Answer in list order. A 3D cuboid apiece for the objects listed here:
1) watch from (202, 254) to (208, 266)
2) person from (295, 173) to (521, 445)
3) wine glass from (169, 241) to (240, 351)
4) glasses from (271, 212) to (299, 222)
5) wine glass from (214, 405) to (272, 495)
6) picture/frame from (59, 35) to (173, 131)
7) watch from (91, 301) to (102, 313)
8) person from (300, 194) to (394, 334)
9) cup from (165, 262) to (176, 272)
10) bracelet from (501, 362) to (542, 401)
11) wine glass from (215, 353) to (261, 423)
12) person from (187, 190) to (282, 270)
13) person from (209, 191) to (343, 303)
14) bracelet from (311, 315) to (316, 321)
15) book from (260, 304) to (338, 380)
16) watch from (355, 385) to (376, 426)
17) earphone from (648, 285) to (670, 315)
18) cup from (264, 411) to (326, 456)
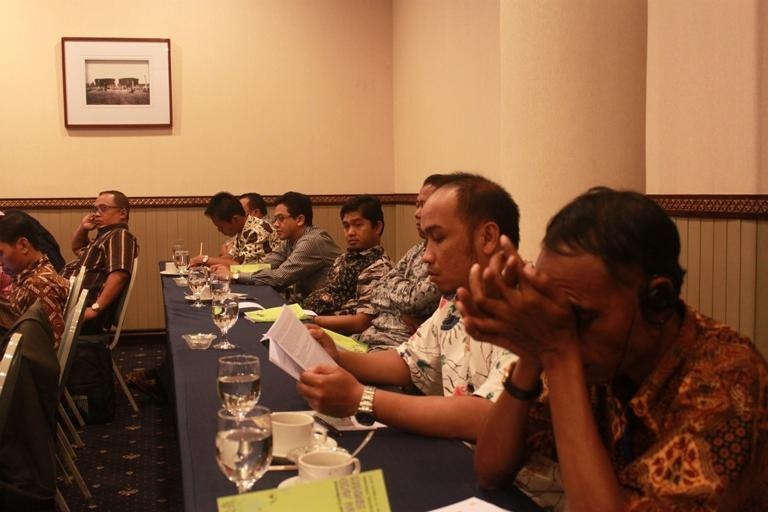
[{"bbox_3d":[-1.620,0.035,5.238,0.051,0.076,0.082,8,45,0],"label":"watch"},{"bbox_3d":[0.085,0.179,2.411,0.854,1.520,0.667,6,-5,-9],"label":"person"},{"bbox_3d":[-0.891,0.225,2.944,0.248,0.328,0.863,-1,6,-17],"label":"wine glass"},{"bbox_3d":[-0.826,-0.331,4.893,0.150,0.045,0.148,0,1,-27],"label":"glasses"},{"bbox_3d":[-0.310,0.452,1.300,0.135,0.229,0.139,2,-5,-24],"label":"wine glass"},{"bbox_3d":[-2.873,-1.837,6.100,0.981,0.864,0.043,-1,4,-8],"label":"picture/frame"},{"bbox_3d":[-2.022,0.355,4.074,0.041,0.066,0.060,-1,-5,-15],"label":"watch"},{"bbox_3d":[-0.208,-0.014,3.993,0.759,1.045,0.755,-3,9,-25],"label":"person"},{"bbox_3d":[-1.905,0.097,5.170,0.123,0.099,0.118,-1,-1,0],"label":"cup"},{"bbox_3d":[0.356,0.322,1.485,0.113,0.135,0.048,0,3,10],"label":"bracelet"},{"bbox_3d":[-0.415,0.406,1.691,0.140,0.227,0.139,-5,-6,44],"label":"wine glass"},{"bbox_3d":[-1.483,-0.207,5.876,0.859,0.892,0.627,-14,19,-20],"label":"person"},{"bbox_3d":[-0.861,0.036,4.849,1.057,1.041,0.643,-2,7,-34],"label":"person"},{"bbox_3d":[-0.392,0.345,3.239,0.028,0.021,0.028,0,-2,4],"label":"bracelet"},{"bbox_3d":[-0.273,0.289,1.781,0.081,0.229,0.220,-29,24,36],"label":"book"},{"bbox_3d":[-0.054,0.438,1.714,0.068,0.116,0.114,5,37,0],"label":"watch"},{"bbox_3d":[0.613,0.096,1.293,0.054,0.062,0.020,3,0,-9],"label":"earphone"},{"bbox_3d":[-0.239,0.492,1.572,0.147,0.110,0.113,4,-1,9],"label":"cup"}]
